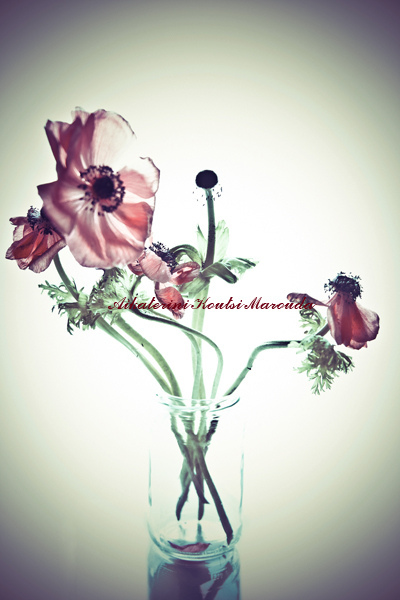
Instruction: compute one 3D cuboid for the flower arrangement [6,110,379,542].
[{"bbox_3d":[-0.090,-0.003,1.214,0.663,0.624,0.753,6,-81,41],"label":"flower arrangement"}]
